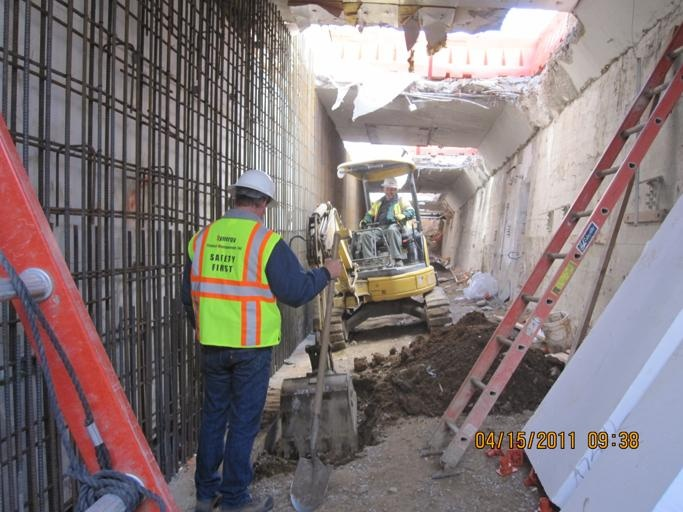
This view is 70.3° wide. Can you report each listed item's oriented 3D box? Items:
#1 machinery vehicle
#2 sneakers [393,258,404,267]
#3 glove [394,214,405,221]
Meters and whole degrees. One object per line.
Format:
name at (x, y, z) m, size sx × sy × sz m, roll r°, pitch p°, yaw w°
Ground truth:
machinery vehicle at (0.325, 0.178, 6.654) m, size 1.728 × 2.772 × 4.963 m, roll -3°, pitch 11°, yaw 19°
sneakers at (0.924, 0.121, 7.807) m, size 0.137 × 0.140 × 0.143 m, roll 4°, pitch -17°, yaw -13°
glove at (0.980, -0.633, 8.063) m, size 0.126 × 0.155 × 0.085 m, roll 3°, pitch -3°, yaw -3°
